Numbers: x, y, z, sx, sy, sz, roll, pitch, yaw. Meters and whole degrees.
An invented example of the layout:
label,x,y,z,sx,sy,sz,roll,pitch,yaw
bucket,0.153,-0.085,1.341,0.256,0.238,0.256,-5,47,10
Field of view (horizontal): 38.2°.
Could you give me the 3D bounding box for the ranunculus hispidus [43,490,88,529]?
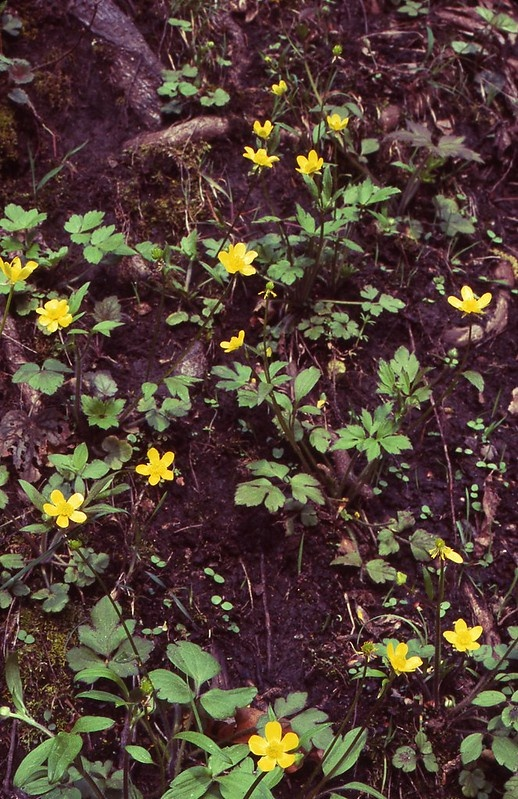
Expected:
label,x,y,z,sx,sy,sz,roll,pitch,yaw
ranunculus hispidus,-0.590,0.342,2.271,0.147,0.052,0.135,10,43,-19
